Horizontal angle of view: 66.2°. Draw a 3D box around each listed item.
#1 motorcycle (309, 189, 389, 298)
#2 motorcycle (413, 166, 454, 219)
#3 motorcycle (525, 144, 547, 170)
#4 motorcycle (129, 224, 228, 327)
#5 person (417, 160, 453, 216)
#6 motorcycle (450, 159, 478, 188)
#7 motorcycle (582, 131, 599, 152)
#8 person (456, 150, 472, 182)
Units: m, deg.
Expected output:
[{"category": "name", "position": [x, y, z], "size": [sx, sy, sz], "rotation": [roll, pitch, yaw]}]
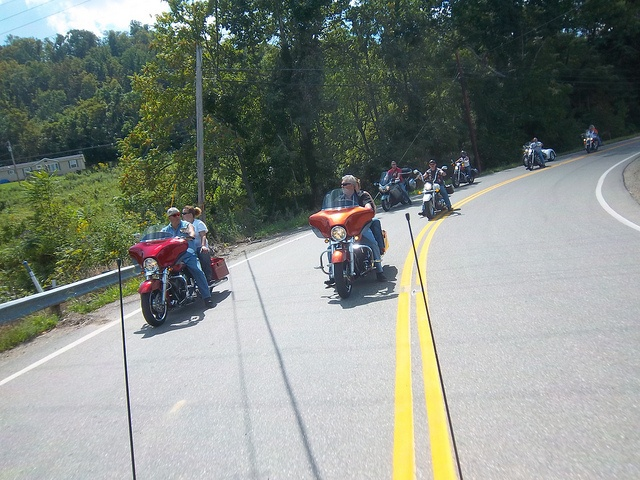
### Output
[{"category": "motorcycle", "position": [0.500, -0.108, 9.324], "size": [1.195, 2.101, 1.810], "rotation": [1, 12, 37]}, {"category": "motorcycle", "position": [3.859, -1.758, 17.660], "size": [1.272, 1.935, 2.913], "rotation": [-5, 5, 22]}, {"category": "motorcycle", "position": [13.083, -5.173, 30.013], "size": [1.074, 1.578, 1.381], "rotation": [-2, 10, 25]}, {"category": "motorcycle", "position": [-2.816, 0.591, 9.987], "size": [0.981, 1.834, 2.889], "rotation": [-11, 3, 14]}, {"category": "person", "position": [3.943, -1.663, 16.945], "size": [0.983, 1.556, 2.408], "rotation": [-6, 10, 29]}, {"category": "motorcycle", "position": [7.905, -3.776, 27.330], "size": [0.578, 1.531, 1.708], "rotation": [3, 14, 43]}, {"category": "motorcycle", "position": [19.627, -7.151, 35.614], "size": [0.917, 1.232, 1.806], "rotation": [-7, 5, 29]}, {"category": "person", "position": [8.365, -4.151, 27.755], "size": [0.919, 1.208, 1.780], "rotation": [-28, 0, 23]}]
